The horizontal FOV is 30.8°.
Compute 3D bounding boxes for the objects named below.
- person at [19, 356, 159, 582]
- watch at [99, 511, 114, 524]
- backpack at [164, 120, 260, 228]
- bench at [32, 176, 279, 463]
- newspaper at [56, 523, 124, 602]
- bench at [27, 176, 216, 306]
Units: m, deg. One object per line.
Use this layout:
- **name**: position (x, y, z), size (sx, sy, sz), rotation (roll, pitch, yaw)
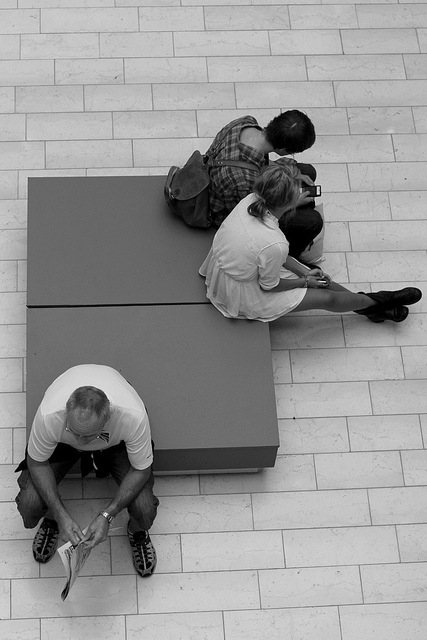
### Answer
- **person**: position (-0.503, 0.606, 3.123), size (0.645, 1.132, 0.763), rotation (2, 66, -7)
- **watch**: position (-0.423, 0.774, 3.030), size (0.051, 0.068, 0.026), rotation (38, 85, -6)
- **backpack**: position (0.009, -0.669, 3.644), size (0.531, 0.469, 0.315), rotation (4, 55, 12)
- **bench**: position (-0.324, 0.012, 3.502), size (1.151, 0.365, 1.512), rotation (-5, 64, -7)
- **newspaper**: position (-0.515, 0.881, 2.929), size (0.103, 0.145, 0.332), rotation (55, 43, -26)
- **bench**: position (-0.494, -0.324, 3.716), size (0.658, 0.207, 0.866), rotation (-2, 61, -4)
